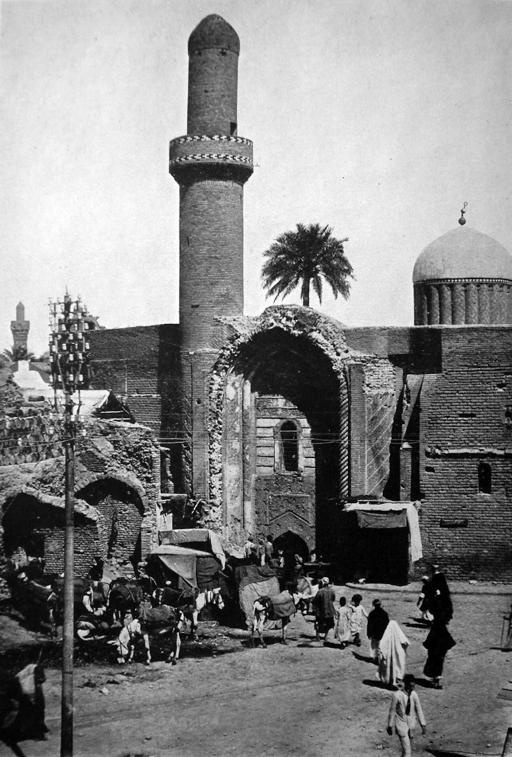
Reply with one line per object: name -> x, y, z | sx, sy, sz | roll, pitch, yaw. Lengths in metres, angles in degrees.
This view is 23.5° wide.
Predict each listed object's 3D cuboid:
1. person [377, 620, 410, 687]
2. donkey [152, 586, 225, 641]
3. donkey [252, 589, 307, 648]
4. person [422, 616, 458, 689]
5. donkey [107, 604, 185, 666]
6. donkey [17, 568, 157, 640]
person -> 1.915, 3.874, 17.335 | 0.408, 0.995, 0.842 | 1, -5, 5
donkey -> -1.066, 3.811, 21.108 | 0.921, 0.718, 0.265 | 11, 7, 20
donkey -> 0.409, 3.890, 20.237 | 1.027, 0.897, 0.306 | 3, -1, -30
person -> 2.617, 3.943, 17.754 | 0.417, 1.012, 0.867 | 1, -5, 8
donkey -> -1.675, 4.012, 19.178 | 1.202, 1.029, 0.413 | -3, -32, -6
donkey -> -2.777, 3.655, 19.993 | 2.043, 1.350, 0.882 | 3, -6, -29
